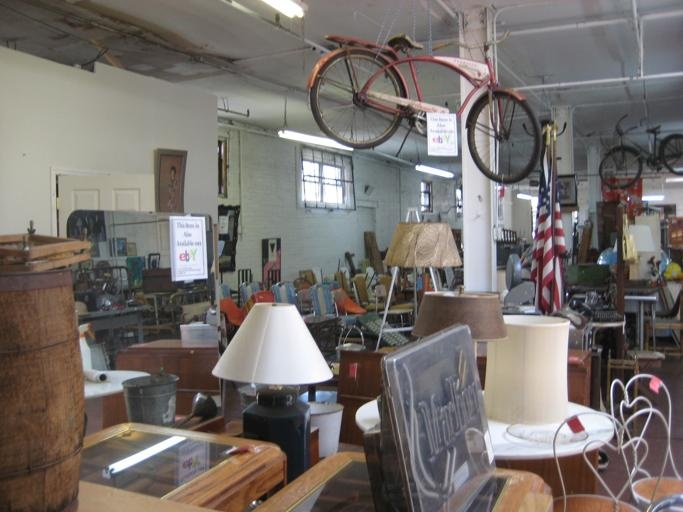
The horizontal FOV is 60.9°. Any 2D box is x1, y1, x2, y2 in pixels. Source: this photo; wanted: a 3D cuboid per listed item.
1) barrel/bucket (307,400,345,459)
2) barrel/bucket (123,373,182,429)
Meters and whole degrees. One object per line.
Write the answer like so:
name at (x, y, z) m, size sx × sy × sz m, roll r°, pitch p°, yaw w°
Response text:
barrel/bucket at (-0.083, 1.040, 3.395) m, size 0.180 × 0.299 × 0.399 m, roll -2°, pitch 2°, yaw -2°
barrel/bucket at (-0.872, 0.649, 2.649) m, size 0.193 × 0.196 × 0.218 m, roll -2°, pitch -4°, yaw 27°
